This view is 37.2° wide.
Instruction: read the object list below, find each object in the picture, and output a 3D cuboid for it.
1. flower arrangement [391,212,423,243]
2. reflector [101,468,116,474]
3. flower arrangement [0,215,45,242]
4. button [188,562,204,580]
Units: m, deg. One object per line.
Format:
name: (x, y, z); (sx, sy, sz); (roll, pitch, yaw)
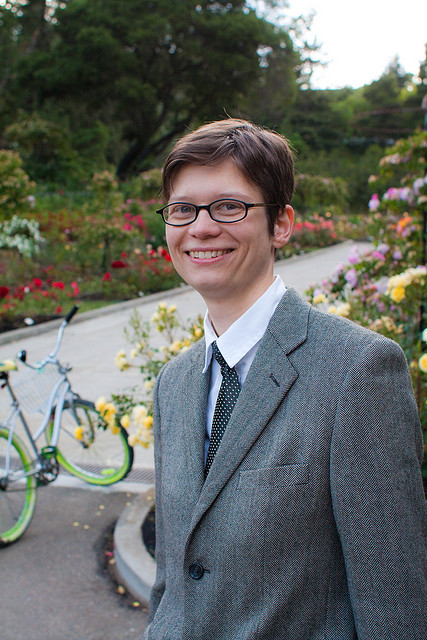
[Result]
flower arrangement: (1.175, -0.554, 3.822); (0.159, 0.132, 0.142); (4, 11, 13)
reflector: (-0.537, 0.774, 3.229); (0.020, 0.028, 0.133); (22, -4, 15)
flower arrangement: (-0.703, -0.338, 2.342); (0.035, 0.102, 0.163); (5, 13, 34)
button: (-0.034, 0.508, 1.278); (0.033, 0.032, 0.008); (1, 3, 36)
